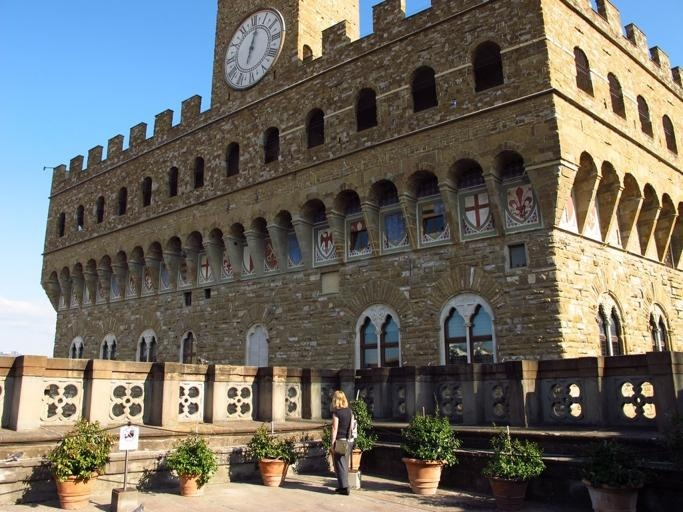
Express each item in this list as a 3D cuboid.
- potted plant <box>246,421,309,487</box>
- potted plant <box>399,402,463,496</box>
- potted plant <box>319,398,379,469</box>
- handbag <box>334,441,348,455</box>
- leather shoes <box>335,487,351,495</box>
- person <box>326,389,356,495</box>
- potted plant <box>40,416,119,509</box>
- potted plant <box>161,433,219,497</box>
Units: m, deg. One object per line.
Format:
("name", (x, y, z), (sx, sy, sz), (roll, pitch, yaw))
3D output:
("potted plant", (-1.424, 4.329, 11.612), (0.963, 1.050, 1.002), (18, -35, -41))
("potted plant", (1.681, 4.064, 11.273), (1.304, 1.935, 1.307), (2, -16, -2))
("potted plant", (0.195, 4.163, 12.557), (0.979, 1.263, 0.885), (8, -1, -11))
("handbag", (-0.011, 3.774, 10.759), (0.268, 0.278, 0.186), (1, -16, -5))
("leather shoes", (0.015, 4.574, 10.568), (0.272, 0.125, 0.190), (-1, -17, 1))
("person", (0.036, 3.764, 11.064), (0.502, 1.964, 0.758), (-1, -15, 1))
("potted plant", (-4.597, 3.533, 9.941), (1.064, 1.633, 1.343), (-1, -4, 20))
("potted plant", (-2.866, 4.104, 10.525), (0.872, 1.026, 0.928), (-11, -23, 17))
